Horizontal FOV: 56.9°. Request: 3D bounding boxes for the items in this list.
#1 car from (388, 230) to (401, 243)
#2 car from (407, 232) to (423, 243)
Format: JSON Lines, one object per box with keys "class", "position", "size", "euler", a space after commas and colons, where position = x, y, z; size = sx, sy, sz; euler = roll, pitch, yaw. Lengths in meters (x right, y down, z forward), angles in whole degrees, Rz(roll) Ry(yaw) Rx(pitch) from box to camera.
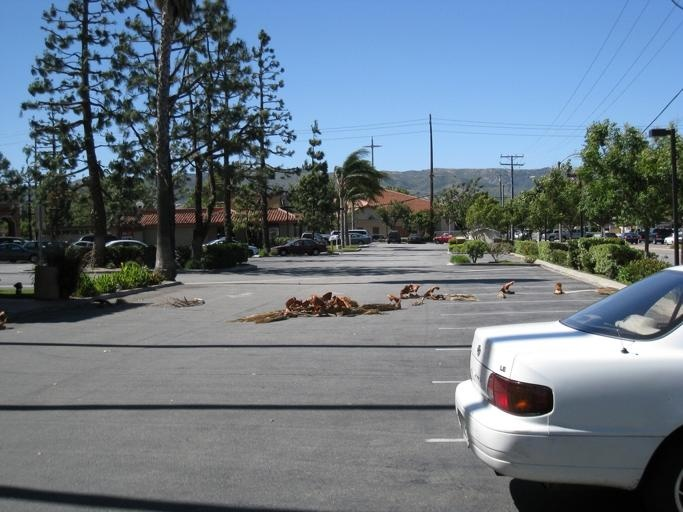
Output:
{"class": "car", "position": [7.566, -2.670, 90.173], "size": [1.805, 1.558, 2.304], "euler": [0, 4, 2]}
{"class": "car", "position": [9.932, -2.369, 85.250], "size": [1.668, 1.284, 3.033], "euler": [0, 4, 5]}
